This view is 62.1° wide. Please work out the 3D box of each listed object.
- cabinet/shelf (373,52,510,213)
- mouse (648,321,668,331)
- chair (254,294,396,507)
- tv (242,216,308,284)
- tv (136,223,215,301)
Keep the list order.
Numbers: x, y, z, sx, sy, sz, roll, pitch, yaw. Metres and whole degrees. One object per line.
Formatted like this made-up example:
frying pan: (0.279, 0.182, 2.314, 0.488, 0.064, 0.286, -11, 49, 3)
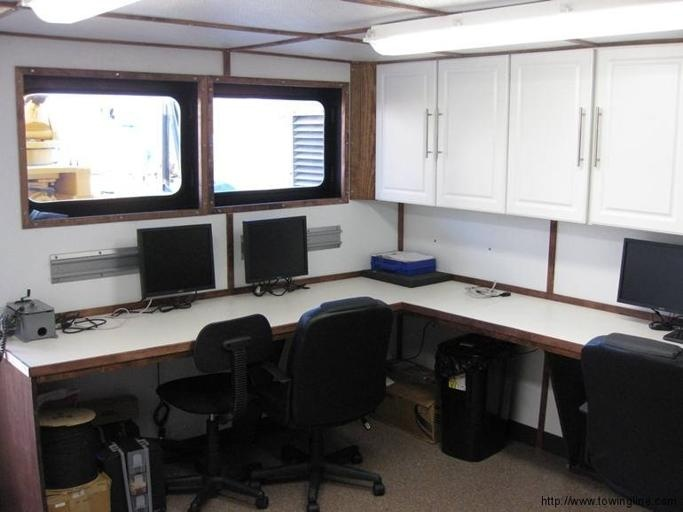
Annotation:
cabinet/shelf: (0.727, -0.815, 3.873, 0.966, 0.921, 0.371, 8, 18, 32)
mouse: (1.706, 0.375, 3.070, 0.043, 0.022, 0.060, -6, 12, -29)
chair: (-0.099, 0.781, 3.056, 0.726, 1.168, 0.396, -1, 13, -3)
tv: (-0.450, -0.045, 3.709, 0.436, 0.362, 0.151, -4, 4, -37)
tv: (-1.003, 0.027, 3.371, 0.443, 0.384, 0.042, -5, 6, -36)
